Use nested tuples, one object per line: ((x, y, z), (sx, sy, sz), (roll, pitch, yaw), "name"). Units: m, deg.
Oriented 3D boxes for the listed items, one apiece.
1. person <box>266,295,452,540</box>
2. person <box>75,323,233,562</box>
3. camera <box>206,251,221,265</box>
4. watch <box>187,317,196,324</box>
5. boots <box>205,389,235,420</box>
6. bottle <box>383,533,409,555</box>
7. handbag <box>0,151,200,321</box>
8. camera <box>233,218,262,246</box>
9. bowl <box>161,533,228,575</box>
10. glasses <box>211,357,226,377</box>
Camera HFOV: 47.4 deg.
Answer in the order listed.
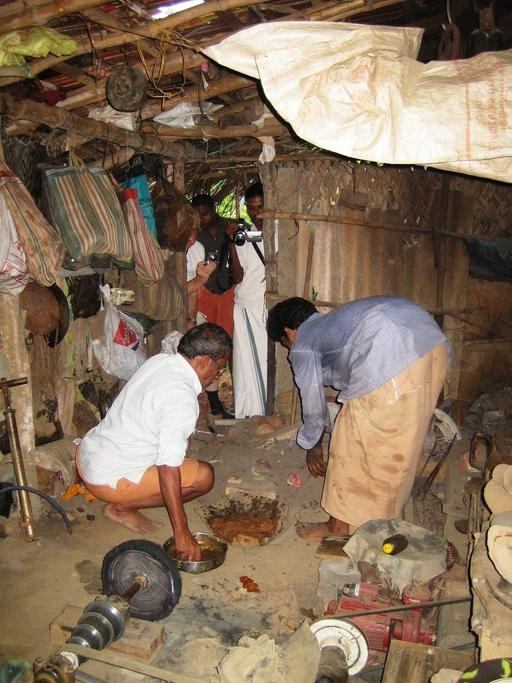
((0.561, 0.386, 3.454), (0.870, 1.285, 0.490), (9, 19, 35), "person")
((-0.494, 0.590, 3.222), (0.689, 1.393, 1.023), (-12, 18, -35), "person")
((-0.423, -0.806, 5.677), (0.131, 0.106, 0.080), (1, -7, -2), "camera")
((-0.662, -0.209, 6.048), (0.065, 0.041, 0.062), (5, -9, -25), "watch")
((-0.298, 0.664, 5.970), (0.441, 0.355, 0.177), (1, 6, -12), "boots")
((0.673, 0.990, 2.841), (0.086, 0.065, 0.167), (11, 17, 40), "bottle")
((-1.170, -0.661, 4.334), (0.382, 1.132, 0.691), (-22, 8, 40), "handbag")
((-0.092, -1.031, 5.565), (0.297, 0.239, 0.287), (-5, 14, -15), "camera")
((-0.311, 1.111, 3.059), (0.300, 0.083, 0.282), (4, -2, 0), "bowl")
((-0.198, 0.137, 3.115), (0.037, 0.093, 0.077), (3, -9, 1), "glasses")
